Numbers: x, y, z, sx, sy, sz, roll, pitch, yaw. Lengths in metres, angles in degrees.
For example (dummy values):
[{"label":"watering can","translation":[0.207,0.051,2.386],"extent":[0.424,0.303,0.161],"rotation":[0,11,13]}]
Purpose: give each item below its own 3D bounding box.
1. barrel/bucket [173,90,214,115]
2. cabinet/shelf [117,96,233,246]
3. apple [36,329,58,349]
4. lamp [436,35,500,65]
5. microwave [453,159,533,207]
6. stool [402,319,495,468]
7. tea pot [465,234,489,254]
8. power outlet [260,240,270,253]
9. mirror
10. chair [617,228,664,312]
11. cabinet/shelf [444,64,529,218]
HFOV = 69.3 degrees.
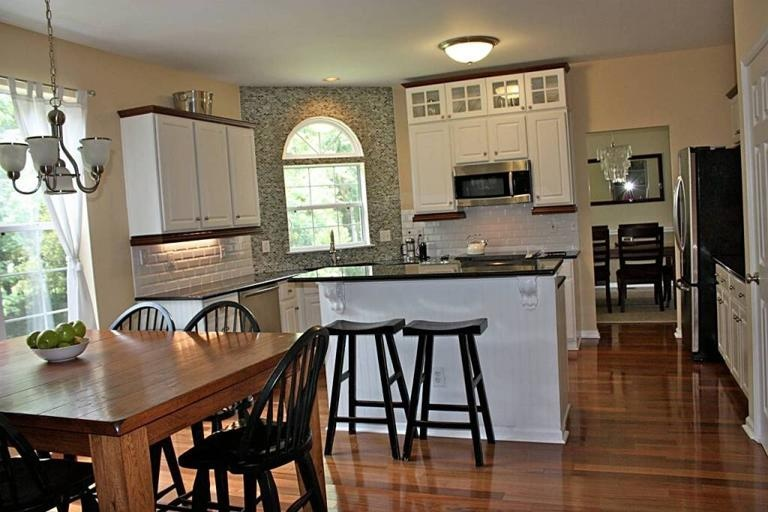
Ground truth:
[{"label":"barrel/bucket","translation":[-2.059,-1.656,6.017],"extent":[0.327,0.230,0.372],"rotation":[-3,8,-22]},{"label":"cabinet/shelf","translation":[-2.189,-0.870,5.689],"extent":[0.533,1.328,1.541],"rotation":[-2,5,23]},{"label":"apple","translation":[-2.119,0.528,3.547],"extent":[0.101,0.098,0.133],"rotation":[31,21,25]},{"label":"lamp","translation":[0.861,-2.146,5.764],"extent":[0.354,0.123,0.349],"rotation":[0,-1,-44]},{"label":"microwave","translation":[1.321,-0.901,6.896],"extent":[0.905,0.558,0.554],"rotation":[0,3,21]},{"label":"stool","translation":[0.490,1.012,4.408],"extent":[0.718,1.049,0.623],"rotation":[-3,10,12]},{"label":"tea pot","translation":[1.167,-0.156,7.025],"extent":[0.307,0.265,0.238],"rotation":[-1,7,15]},{"label":"power outlet","translation":[-1.527,-0.126,7.088],"extent":[0.158,0.214,0.023],"rotation":[-3,2,-40]},{"label":"mirror","translation":[4.282,-1.342,9.669],"extent":[1.212,0.826,0.051],"rotation":[1,5,18]},{"label":"chair","translation":[3.730,0.169,8.054],"extent":[0.600,1.221,0.613],"rotation":[0,10,26]},{"label":"cabinet/shelf","translation":[1.286,-1.425,6.868],"extent":[0.961,1.554,0.334],"rotation":[-3,10,6]}]
